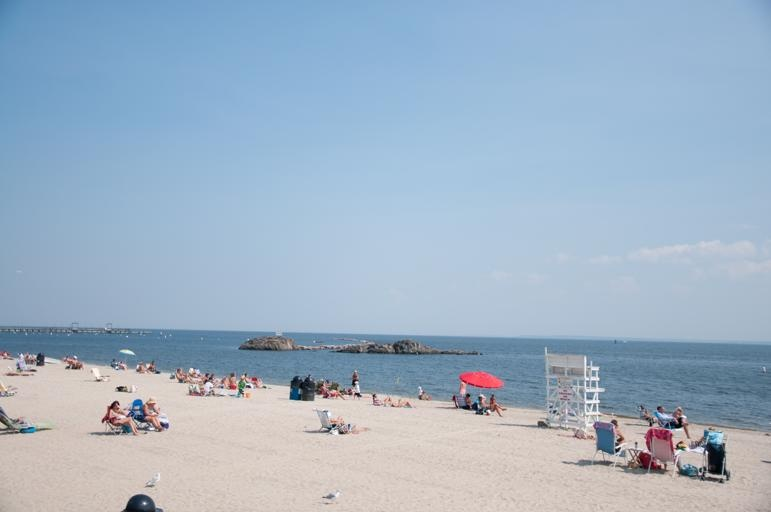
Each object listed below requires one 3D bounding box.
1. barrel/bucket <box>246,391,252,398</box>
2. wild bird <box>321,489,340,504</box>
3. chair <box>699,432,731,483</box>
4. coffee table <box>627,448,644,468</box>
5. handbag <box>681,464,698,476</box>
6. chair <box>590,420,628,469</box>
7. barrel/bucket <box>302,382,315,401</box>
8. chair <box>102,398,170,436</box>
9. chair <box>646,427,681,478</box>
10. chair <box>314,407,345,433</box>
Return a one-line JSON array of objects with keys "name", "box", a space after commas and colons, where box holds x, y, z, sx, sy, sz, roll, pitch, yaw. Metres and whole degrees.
[{"name": "barrel/bucket", "box": [-7.812, 7.946, 44.446, 0.322, 0.216, 0.304, 2, -4, 0]}, {"name": "wild bird", "box": [-1.910, 8.532, 27.540, 0.694, 0.422, 0.918, 2, -11, -4]}, {"name": "chair", "box": [12.873, 7.813, 30.477, 0.993, 1.879, 1.469, -3, -12, 23]}, {"name": "coffee table", "box": [10.040, 8.121, 31.260, 0.768, 0.783, 0.726, 6, -10, -16]}, {"name": "handbag", "box": [11.789, 8.351, 30.249, 0.651, 0.405, 0.473, -3, -12, 20]}, {"name": "chair", "box": [9.023, 7.569, 31.431, 1.374, 1.648, 1.395, -2, -12, 16]}, {"name": "barrel/bucket", "box": [-4.328, 7.601, 43.612, 0.973, 0.912, 0.911, 0, -6, 0]}, {"name": "chair", "box": [-10.832, 6.964, 33.817, 2.580, 1.491, 1.213, 5, -12, -18]}, {"name": "chair", "box": [11.143, 7.546, 30.827, 1.470, 1.917, 1.788, 1, -6, 39]}, {"name": "chair", "box": [-2.515, 7.477, 35.055, 1.068, 0.967, 1.441, 2, -11, -4]}]
